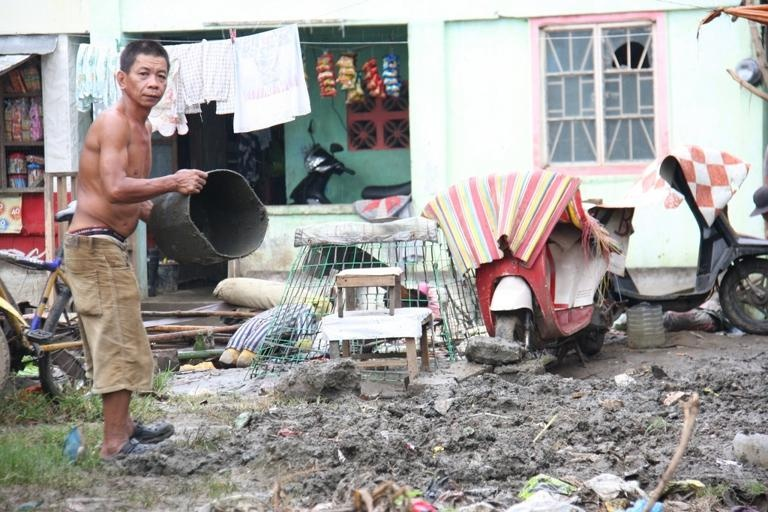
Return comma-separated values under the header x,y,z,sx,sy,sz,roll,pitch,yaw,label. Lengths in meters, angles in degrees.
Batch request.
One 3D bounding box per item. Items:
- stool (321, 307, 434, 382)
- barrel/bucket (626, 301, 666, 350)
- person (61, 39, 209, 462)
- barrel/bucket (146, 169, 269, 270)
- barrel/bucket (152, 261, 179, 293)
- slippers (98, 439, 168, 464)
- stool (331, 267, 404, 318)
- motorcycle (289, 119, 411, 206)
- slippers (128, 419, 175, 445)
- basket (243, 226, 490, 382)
x,y,z,sx,sy,sz,roll,pitch,yaw,label
-0.056,0.889,11.861,0.901,0.541,0.887,-1,0,4,stool
3.313,0.836,13.171,0.502,0.480,0.496,-6,4,0,barrel/bucket
-2.503,-0.080,9.879,1.081,3.698,0.588,-3,6,-17,person
-1.716,-0.298,10.130,1.036,0.863,1.045,11,-17,4,barrel/bucket
-3.765,0.358,17.903,0.561,0.587,0.596,0,-3,0,barrel/bucket
-2.385,1.749,9.793,0.592,0.232,0.230,-7,7,-8,slippers
-0.190,0.367,11.960,0.605,0.437,0.597,-1,1,4,stool
-0.620,-1.340,17.065,1.839,1.176,1.007,1,0,-1,motorcycle
-2.275,1.597,10.060,0.413,0.185,0.156,-6,39,-11,slippers
-0.249,0.548,12.675,2.217,1.475,2.001,0,4,9,basket
